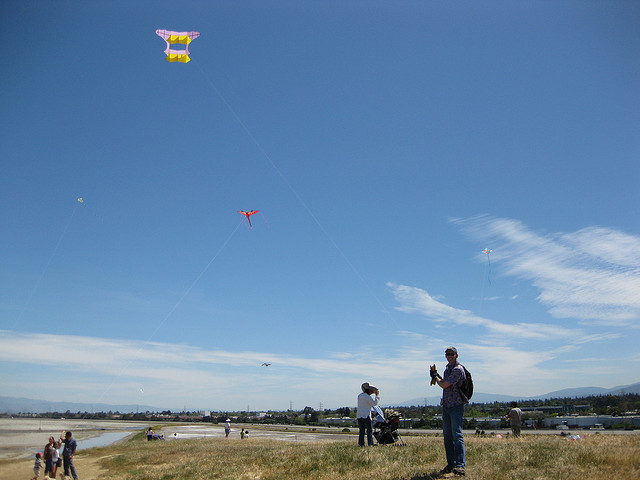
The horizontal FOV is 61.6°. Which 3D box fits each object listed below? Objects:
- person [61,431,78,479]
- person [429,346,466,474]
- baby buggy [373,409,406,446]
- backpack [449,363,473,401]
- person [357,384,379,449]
[{"bbox_3d":[-10.072,8.572,21.595,0.699,1.664,1.816,8,-22,-24],"label":"person"},{"bbox_3d":[3.677,4.651,14.757,0.835,3.258,1.167,-2,-19,6],"label":"person"},{"bbox_3d":[2.754,7.298,21.066,1.119,1.334,1.486,-3,-20,7],"label":"baby buggy"},{"bbox_3d":[3.941,3.860,14.745,0.525,1.003,0.375,0,-19,-2],"label":"backpack"},{"bbox_3d":[1.797,6.514,20.027,0.755,2.219,1.512,-2,-20,4],"label":"person"}]
